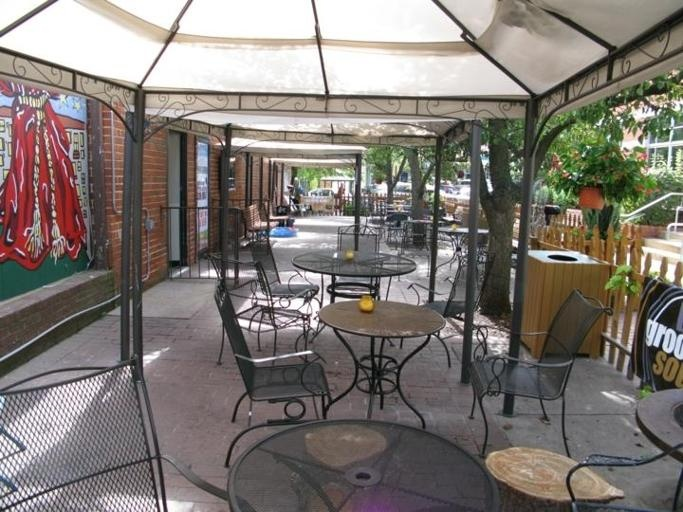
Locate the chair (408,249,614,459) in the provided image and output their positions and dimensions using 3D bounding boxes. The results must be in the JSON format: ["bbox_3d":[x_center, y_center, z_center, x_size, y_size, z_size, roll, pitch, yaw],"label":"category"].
[{"bbox_3d":[1.473,0.752,4.947,1.405,1.986,1.239,5,9,7],"label":"chair"}]

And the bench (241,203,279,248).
[{"bbox_3d":[-2.317,-0.818,14.515,0.783,0.977,1.563,-1,11,-1],"label":"bench"}]

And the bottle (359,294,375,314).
[{"bbox_3d":[0.231,0.443,4.796,0.142,0.146,0.146,-2,6,-7],"label":"bottle"}]

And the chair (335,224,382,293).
[{"bbox_3d":[0.257,0.092,7.885,0.792,1.176,0.798,4,6,43],"label":"chair"}]

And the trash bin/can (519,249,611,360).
[{"bbox_3d":[2.561,0.687,6.765,0.877,1.240,0.879,4,2,-27],"label":"trash bin/can"}]

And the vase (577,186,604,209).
[{"bbox_3d":[2.908,-0.676,6.036,0.250,0.189,0.258,0,3,-2],"label":"vase"}]

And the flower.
[{"bbox_3d":[3.036,-0.961,6.001,1.092,0.680,0.487,7,12,29],"label":"flower"}]
